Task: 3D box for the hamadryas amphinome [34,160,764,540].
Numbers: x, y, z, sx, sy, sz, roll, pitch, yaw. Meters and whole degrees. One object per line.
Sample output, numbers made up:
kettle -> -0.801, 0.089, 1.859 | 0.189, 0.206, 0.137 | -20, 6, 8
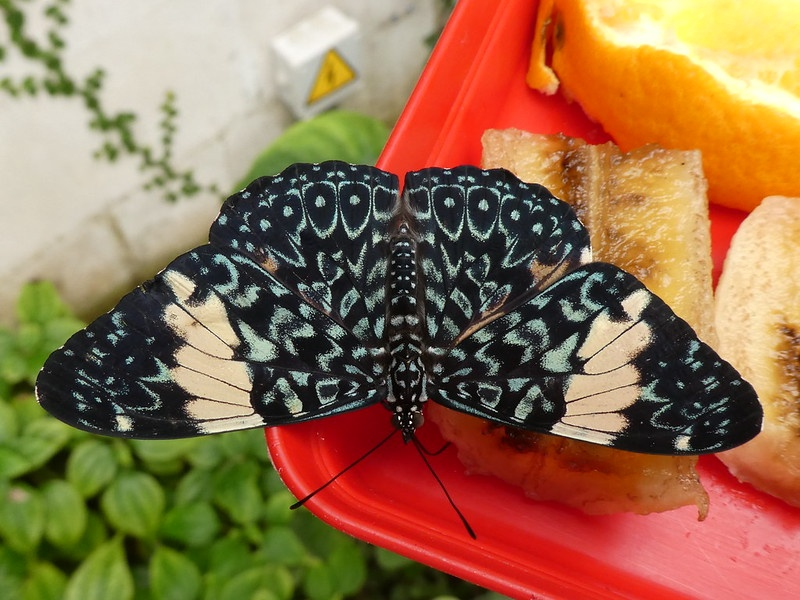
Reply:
hamadryas amphinome -> 0.009, -0.007, 1.291 | 0.920, 0.156, 0.410 | 1, 76, 4
